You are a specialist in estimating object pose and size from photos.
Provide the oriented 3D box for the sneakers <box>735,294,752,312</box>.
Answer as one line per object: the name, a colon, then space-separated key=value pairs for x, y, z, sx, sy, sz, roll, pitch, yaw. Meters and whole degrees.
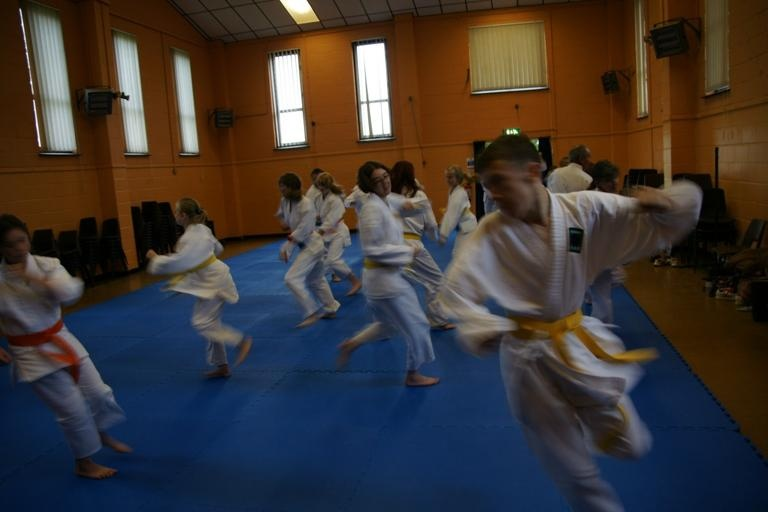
sneakers: x=4.870 y=0.646 z=7.907 sx=0.175 sy=0.148 sz=0.188 roll=-1 pitch=8 yaw=16

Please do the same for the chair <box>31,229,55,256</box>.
chair: x=-6.413 y=-0.239 z=10.937 sx=0.403 sy=0.463 sz=0.802 roll=2 pitch=-3 yaw=-5

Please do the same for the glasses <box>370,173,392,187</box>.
glasses: x=-0.035 y=-0.826 z=6.354 sx=0.141 sy=0.163 sz=0.046 roll=-5 pitch=29 yaw=-14

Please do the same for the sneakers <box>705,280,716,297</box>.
sneakers: x=4.756 y=0.475 z=8.585 sx=0.172 sy=0.215 sz=0.186 roll=-3 pitch=11 yaw=7

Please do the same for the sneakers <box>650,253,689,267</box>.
sneakers: x=5.088 y=0.093 z=10.401 sx=0.585 sy=0.276 sz=0.224 roll=-6 pitch=0 yaw=39
